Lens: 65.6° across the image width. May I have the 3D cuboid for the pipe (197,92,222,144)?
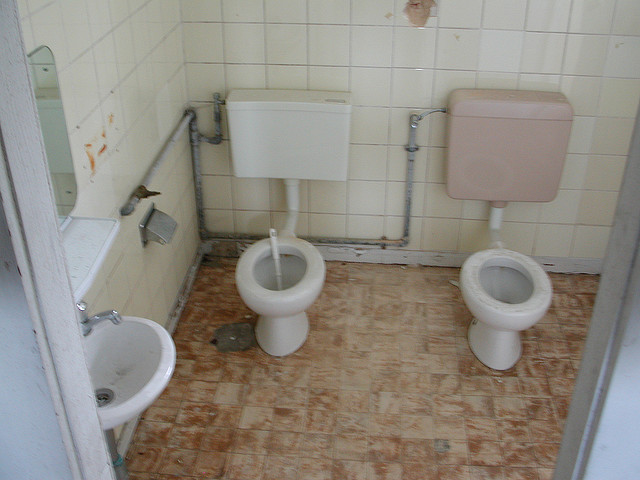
[{"bbox_3d":[-0.646,-0.718,2.916,0.161,0.299,0.060,4,25,7],"label":"pipe"}]

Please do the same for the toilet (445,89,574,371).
[{"bbox_3d":[0.977,-0.035,2.647,0.600,1.252,1.129,3,35,14],"label":"toilet"}]

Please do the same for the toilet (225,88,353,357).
[{"bbox_3d":[-0.173,-0.117,2.806,0.784,1.328,1.174,3,54,1],"label":"toilet"}]

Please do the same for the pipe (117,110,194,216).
[{"bbox_3d":[-0.774,-0.361,2.388,0.122,0.072,0.640,16,48,1],"label":"pipe"}]

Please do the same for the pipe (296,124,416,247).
[{"bbox_3d":[0.227,-0.356,2.978,0.774,0.791,0.127,2,41,1],"label":"pipe"}]
